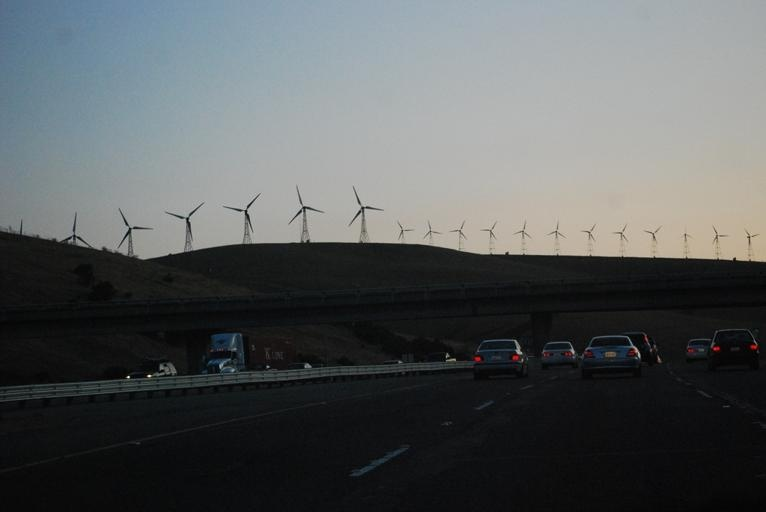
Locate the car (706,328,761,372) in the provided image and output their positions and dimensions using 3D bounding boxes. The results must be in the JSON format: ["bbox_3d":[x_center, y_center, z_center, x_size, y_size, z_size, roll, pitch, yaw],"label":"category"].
[{"bbox_3d":[18.250,4.940,41.469,2.300,2.125,2.167,-1,0,20],"label":"car"}]

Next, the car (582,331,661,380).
[{"bbox_3d":[10.549,4.762,36.703,2.795,2.000,2.020,-1,0,-39],"label":"car"}]

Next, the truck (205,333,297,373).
[{"bbox_3d":[-13.286,9.223,72.633,3.255,4.068,13.876,-1,-6,6],"label":"truck"}]

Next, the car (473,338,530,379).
[{"bbox_3d":[5.660,5.140,39.106,2.448,1.931,1.376,-1,0,-5],"label":"car"}]
